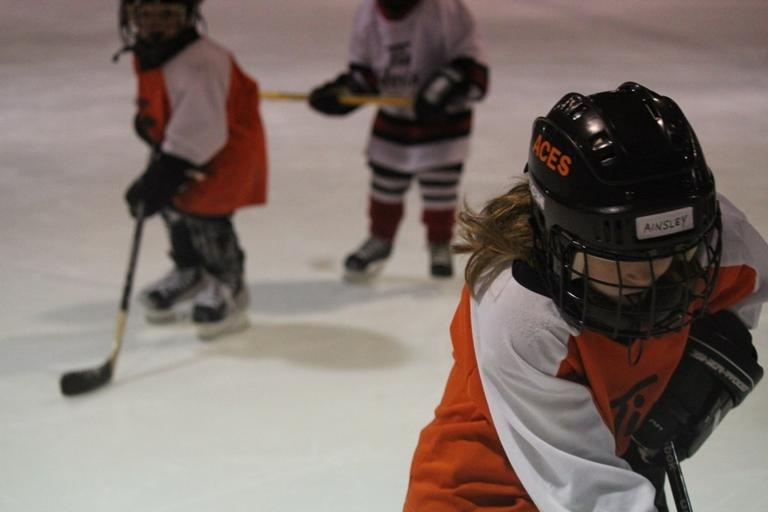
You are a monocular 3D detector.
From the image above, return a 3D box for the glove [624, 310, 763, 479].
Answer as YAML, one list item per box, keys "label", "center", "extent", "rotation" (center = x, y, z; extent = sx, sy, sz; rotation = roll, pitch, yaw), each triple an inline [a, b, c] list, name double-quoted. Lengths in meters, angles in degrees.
- label: "glove"
  center: [0.815, 0.358, 2.128]
  extent: [0.449, 0.334, 0.184]
  rotation: [-47, 37, -13]

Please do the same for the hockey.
- label: "hockey"
  center: [-0.921, 0.033, 2.721]
  extent: [0.192, 0.128, 1.101]
  rotation: [15, 66, -18]

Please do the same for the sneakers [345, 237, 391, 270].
- label: "sneakers"
  center: [-0.059, -0.001, 3.047]
  extent: [0.080, 0.084, 0.225]
  rotation: [18, 30, 28]
